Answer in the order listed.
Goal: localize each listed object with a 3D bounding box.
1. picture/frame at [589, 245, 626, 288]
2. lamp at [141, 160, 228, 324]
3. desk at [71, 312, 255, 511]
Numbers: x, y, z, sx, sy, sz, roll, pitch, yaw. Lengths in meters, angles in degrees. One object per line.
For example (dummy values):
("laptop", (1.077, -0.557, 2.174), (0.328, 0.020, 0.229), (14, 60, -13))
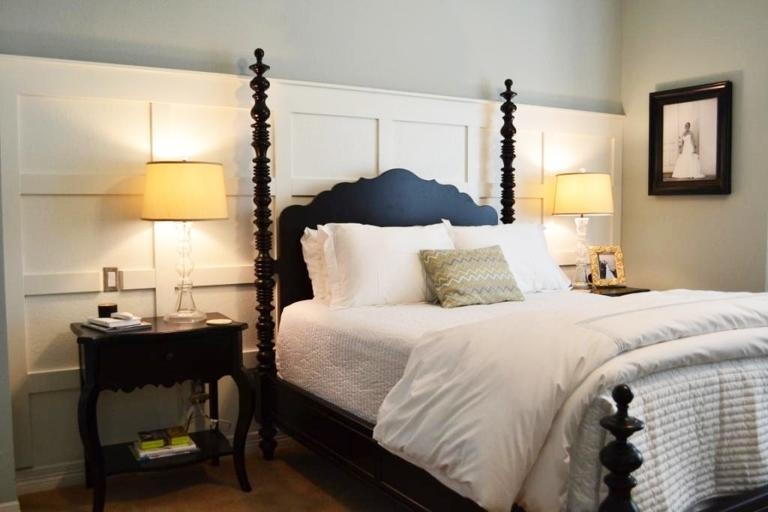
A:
("picture/frame", (1.936, 0.091, 5.102), (0.346, 0.415, 0.054), (1, -6, -22))
("lamp", (-1.295, -0.112, 3.780), (0.539, 0.997, 0.458), (10, 14, 42))
("desk", (-1.325, 0.925, 3.584), (0.968, 1.050, 0.629), (-6, 12, -29))
